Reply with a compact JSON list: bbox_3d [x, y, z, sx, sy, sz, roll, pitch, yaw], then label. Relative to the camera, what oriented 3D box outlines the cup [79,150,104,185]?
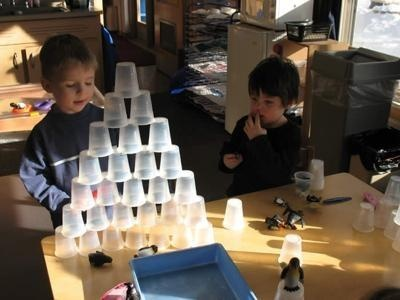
[{"bbox_3d":[-0.388,0.062,1.222,0.094,0.106,0.105,8,13,35],"label":"cup"}]

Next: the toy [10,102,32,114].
[{"bbox_3d":[-1.153,-0.280,2.118,0.108,0.050,0.088,12,15,24],"label":"toy"}]

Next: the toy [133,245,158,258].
[{"bbox_3d":[-0.190,0.337,1.128,0.035,0.017,0.057,16,25,34],"label":"toy"}]

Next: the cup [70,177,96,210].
[{"bbox_3d":[-0.420,0.149,1.178,0.079,0.102,0.124,-7,17,-20],"label":"cup"}]

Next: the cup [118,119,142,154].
[{"bbox_3d":[-0.269,-0.042,1.227,0.103,0.101,0.093,6,8,21],"label":"cup"}]

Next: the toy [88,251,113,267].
[{"bbox_3d":[-0.338,0.369,1.105,0.063,0.050,0.022,1,-3,-15],"label":"toy"}]

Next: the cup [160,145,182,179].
[{"bbox_3d":[-0.103,0.041,1.190,0.094,0.107,0.101,1,14,0],"label":"cup"}]

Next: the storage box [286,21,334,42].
[{"bbox_3d":[0.912,-0.972,2.772,0.273,0.116,0.219,-6,31,-18],"label":"storage box"}]

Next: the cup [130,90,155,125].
[{"bbox_3d":[-0.215,-0.159,1.253,0.105,0.116,0.116,1,13,-7],"label":"cup"}]

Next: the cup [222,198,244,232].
[{"bbox_3d":[0.131,0.250,1.322,0.092,0.104,0.103,11,24,24],"label":"cup"}]

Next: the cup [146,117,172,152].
[{"bbox_3d":[-0.152,-0.066,1.247,0.106,0.117,0.107,2,17,-1],"label":"cup"}]

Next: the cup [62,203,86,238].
[{"bbox_3d":[-0.441,0.250,1.202,0.095,0.103,0.106,2,9,9],"label":"cup"}]

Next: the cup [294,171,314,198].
[{"bbox_3d":[0.447,0.141,1.460,0.081,0.086,0.094,-18,33,-29],"label":"cup"}]

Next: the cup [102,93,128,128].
[{"bbox_3d":[-0.315,-0.143,1.245,0.103,0.116,0.114,-2,12,-10],"label":"cup"}]

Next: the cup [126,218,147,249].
[{"bbox_3d":[-0.227,0.310,1.239,0.077,0.085,0.088,0,22,-5],"label":"cup"}]

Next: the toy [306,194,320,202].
[{"bbox_3d":[0.480,0.202,1.390,0.044,0.023,0.032,10,19,35],"label":"toy"}]

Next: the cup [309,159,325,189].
[{"bbox_3d":[0.523,0.114,1.485,0.074,0.125,0.124,-1,17,9],"label":"cup"}]

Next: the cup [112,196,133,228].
[{"bbox_3d":[-0.276,0.227,1.223,0.086,0.087,0.077,-22,28,-40],"label":"cup"}]

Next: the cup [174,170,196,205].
[{"bbox_3d":[-0.049,0.136,1.221,0.093,0.100,0.102,0,16,-5],"label":"cup"}]

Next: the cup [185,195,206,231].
[{"bbox_3d":[-0.010,0.227,1.222,0.092,0.102,0.098,1,15,0],"label":"cup"}]

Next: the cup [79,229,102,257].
[{"bbox_3d":[-0.388,0.327,1.213,0.076,0.085,0.084,2,24,-1],"label":"cup"}]

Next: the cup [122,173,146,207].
[{"bbox_3d":[-0.230,0.146,1.213,0.095,0.092,0.086,-9,14,-38],"label":"cup"}]

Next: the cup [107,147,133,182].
[{"bbox_3d":[-0.281,0.059,1.215,0.089,0.097,0.099,-1,11,-7],"label":"cup"}]

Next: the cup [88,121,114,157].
[{"bbox_3d":[-0.363,-0.042,1.207,0.103,0.115,0.115,-1,15,-2],"label":"cup"}]

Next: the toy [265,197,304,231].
[{"bbox_3d":[0.316,0.238,1.308,0.096,0.045,0.122,-15,28,-7],"label":"toy"}]

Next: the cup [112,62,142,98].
[{"bbox_3d":[-0.296,-0.281,1.311,0.130,0.137,0.123,1,16,0],"label":"cup"}]

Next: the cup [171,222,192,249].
[{"bbox_3d":[-0.069,0.309,1.236,0.072,0.081,0.083,-4,22,-12],"label":"cup"}]

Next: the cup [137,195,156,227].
[{"bbox_3d":[-0.184,0.227,1.223,0.077,0.083,0.084,3,18,-1],"label":"cup"}]

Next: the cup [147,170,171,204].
[{"bbox_3d":[-0.154,0.134,1.210,0.087,0.091,0.093,0,11,0],"label":"cup"}]
